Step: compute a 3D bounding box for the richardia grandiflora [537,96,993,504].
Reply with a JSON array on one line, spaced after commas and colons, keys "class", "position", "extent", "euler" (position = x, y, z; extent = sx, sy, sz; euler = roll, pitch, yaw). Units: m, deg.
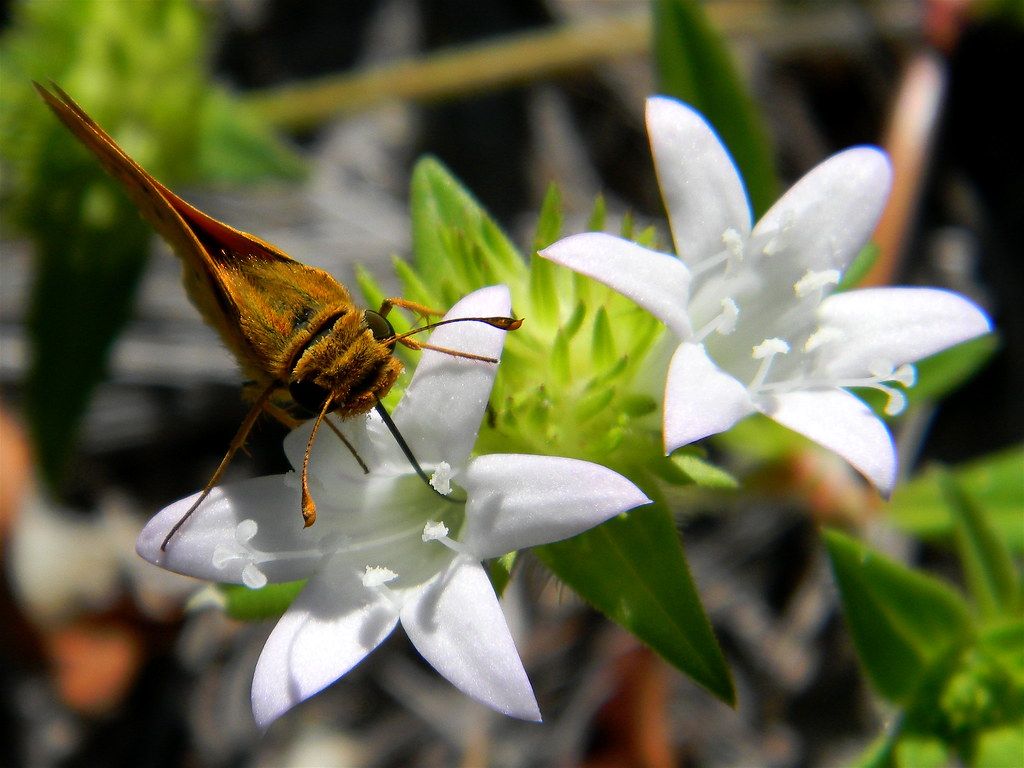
[{"class": "richardia grandiflora", "position": [0.940, -0.305, 3.984], "extent": [1.397, 0.592, 1.301], "euler": [19, 74, 8]}]

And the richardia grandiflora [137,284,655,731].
[{"class": "richardia grandiflora", "position": [-0.367, 0.640, 3.862], "extent": [1.549, 0.494, 1.271], "euler": [-29, 74, -7]}]

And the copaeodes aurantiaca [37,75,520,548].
[{"class": "copaeodes aurantiaca", "position": [-0.886, -0.231, 3.981], "extent": [1.469, 1.131, 2.432], "euler": [-9, 103, -23]}]
